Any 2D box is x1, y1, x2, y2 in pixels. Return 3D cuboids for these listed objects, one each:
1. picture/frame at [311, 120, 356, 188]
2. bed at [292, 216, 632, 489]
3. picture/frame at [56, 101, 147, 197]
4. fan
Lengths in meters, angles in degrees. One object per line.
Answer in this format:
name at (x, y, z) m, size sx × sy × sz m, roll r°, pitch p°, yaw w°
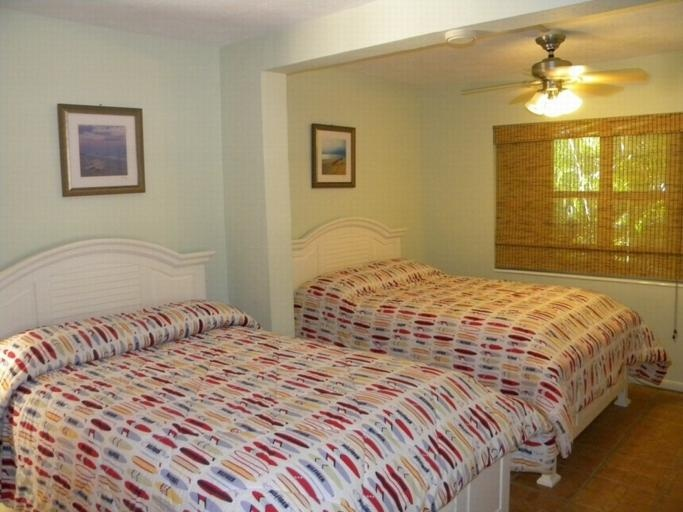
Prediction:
picture/frame at (-0.099, -0.917, 4.537) m, size 0.049 × 0.647 × 0.708 m, roll 3°, pitch 5°, yaw 43°
bed at (1.333, 0.594, 4.050) m, size 1.568 × 1.371 × 2.283 m, roll 1°, pitch 4°, yaw 37°
picture/frame at (-1.599, -0.701, 3.307) m, size 0.709 × 0.645 × 0.055 m, roll -6°, pitch 8°, yaw -44°
fan at (1.592, -1.187, 3.426) m, size 0.778 × 0.255 × 0.822 m, roll -2°, pitch -2°, yaw -24°
